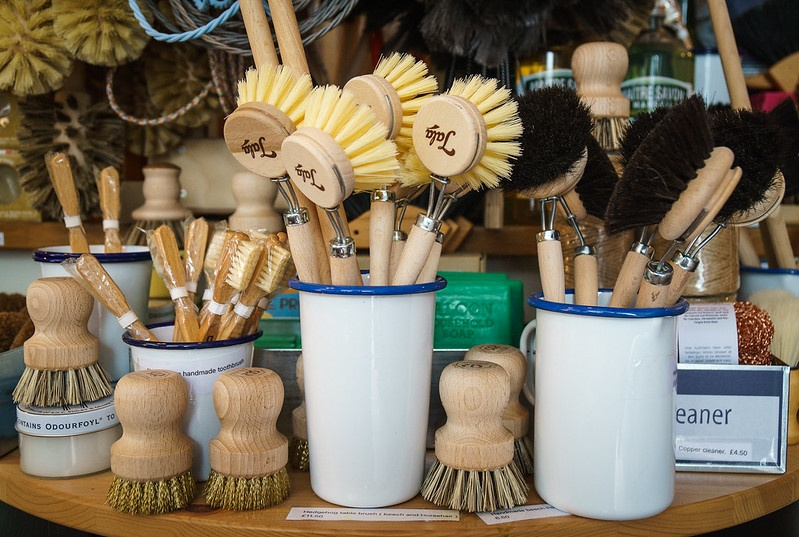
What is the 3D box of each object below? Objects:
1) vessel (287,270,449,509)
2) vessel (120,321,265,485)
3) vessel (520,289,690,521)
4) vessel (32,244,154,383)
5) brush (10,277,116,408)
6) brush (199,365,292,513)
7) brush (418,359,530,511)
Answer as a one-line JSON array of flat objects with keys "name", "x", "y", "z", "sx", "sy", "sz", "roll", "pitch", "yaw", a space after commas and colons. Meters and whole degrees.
[{"name": "vessel", "x": -0.044, "y": 0.120, "z": 0.936, "sx": 0.214, "sy": 0.293, "sz": 0.216, "roll": 0, "pitch": 1, "yaw": -20}, {"name": "vessel", "x": -0.263, "y": 0.127, "z": 0.894, "sx": 0.083, "sy": 0.101, "sz": 0.089, "roll": -13, "pitch": 40, "yaw": -35}, {"name": "vessel", "x": 0.234, "y": 0.144, "z": 0.910, "sx": 0.164, "sy": 0.246, "sz": 0.163, "roll": -4, "pitch": 10, "yaw": -8}, {"name": "vessel", "x": -0.343, "y": 0.030, "z": 1.042, "sx": 0.155, "sy": 0.181, "sz": 0.163, "roll": 3, "pitch": 14, "yaw": 13}, {"name": "brush", "x": -0.396, "y": 0.082, "z": 0.941, "sx": 0.101, "sy": 0.140, "sz": 0.117, "roll": 6, "pitch": 8, "yaw": 20}, {"name": "brush", "x": -0.152, "y": 0.179, "z": 0.895, "sx": 0.128, "sy": 0.170, "sz": 0.124, "roll": 1, "pitch": 8, "yaw": 1}, {"name": "brush", "x": 0.077, "y": 0.181, "z": 0.895, "sx": 0.138, "sy": 0.161, "sz": 0.139, "roll": 1, "pitch": 4, "yaw": 12}]
